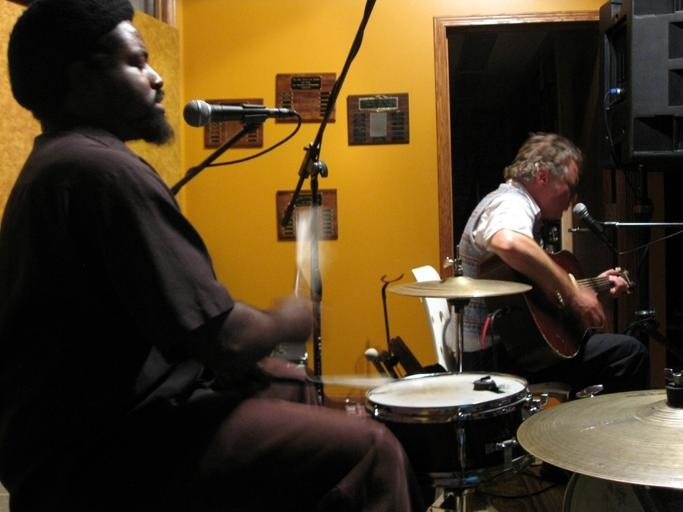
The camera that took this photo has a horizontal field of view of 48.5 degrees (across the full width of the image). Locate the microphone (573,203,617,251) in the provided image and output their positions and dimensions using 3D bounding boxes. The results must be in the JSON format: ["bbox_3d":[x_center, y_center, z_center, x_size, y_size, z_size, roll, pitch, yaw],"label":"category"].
[{"bbox_3d":[1.340,-0.160,3.977,0.095,0.288,0.077,-42,2,-34],"label":"microphone"}]

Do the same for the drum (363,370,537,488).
[{"bbox_3d":[0.340,0.517,2.336,0.348,0.135,0.366,-3,7,0],"label":"drum"}]
